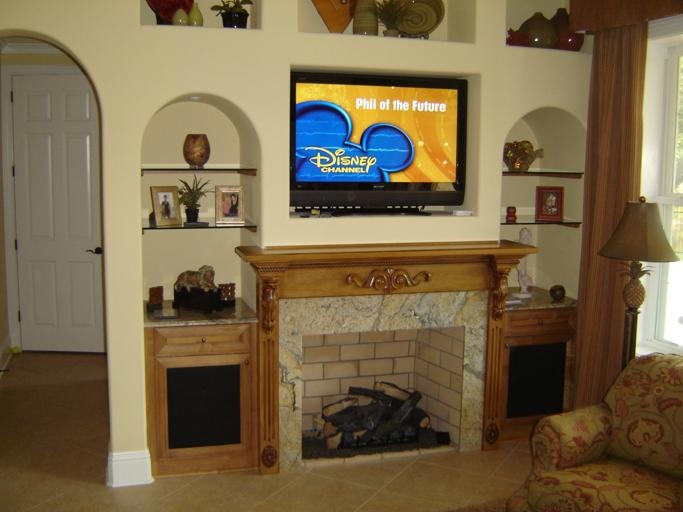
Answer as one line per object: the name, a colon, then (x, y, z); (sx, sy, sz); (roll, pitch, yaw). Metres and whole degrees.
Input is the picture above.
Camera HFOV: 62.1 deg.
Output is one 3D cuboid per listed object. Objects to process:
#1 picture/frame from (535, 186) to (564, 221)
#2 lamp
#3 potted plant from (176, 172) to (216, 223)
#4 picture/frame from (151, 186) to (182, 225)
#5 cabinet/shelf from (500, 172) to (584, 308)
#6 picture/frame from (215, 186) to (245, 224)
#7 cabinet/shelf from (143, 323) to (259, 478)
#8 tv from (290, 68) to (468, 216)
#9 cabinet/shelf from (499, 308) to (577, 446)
picture/frame: (1.729, -0.441, 4.687); (0.269, 0.361, 0.040); (3, 4, 15)
lamp: (2.001, 0.189, 3.805); (0.445, 1.172, 0.523); (12, 16, 43)
potted plant: (-1.105, -0.395, 4.165); (0.221, 0.280, 0.261); (3, -1, -8)
picture/frame: (-1.264, -0.363, 4.052); (0.244, 0.338, 0.025); (-9, -4, -34)
cabinet/shelf: (1.696, -0.215, 4.865); (0.664, 1.044, 0.531); (4, 12, 15)
picture/frame: (-0.815, -0.375, 4.089); (0.260, 0.362, 0.036); (-1, 6, -13)
cabinet/shelf: (-1.031, 0.917, 4.321); (0.771, 1.106, 0.685); (-1, 12, -7)
tv: (0.233, -0.887, 4.176); (1.061, 0.764, 0.143); (0, 8, -12)
cabinet/shelf: (1.505, 0.890, 4.810); (0.735, 1.017, 0.681); (0, 6, -13)
